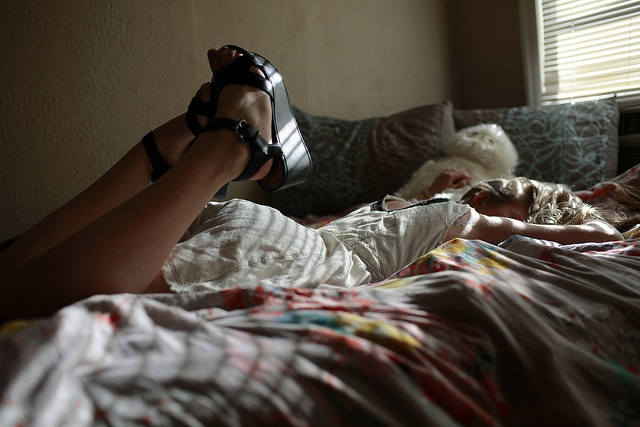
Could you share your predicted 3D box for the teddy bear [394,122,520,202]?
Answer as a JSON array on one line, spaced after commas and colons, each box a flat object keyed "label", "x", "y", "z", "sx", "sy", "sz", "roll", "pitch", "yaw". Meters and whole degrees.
[{"label": "teddy bear", "x": 0.571, "y": -0.193, "z": 2.059, "sx": 0.500, "sy": 0.211, "sz": 0.290, "roll": -28, "pitch": 21, "yaw": 8}]

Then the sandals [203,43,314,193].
[{"label": "sandals", "x": -0.156, "y": -0.279, "z": 1.235, "sx": 0.192, "sy": 0.117, "sz": 0.373, "roll": 24, "pitch": 52, "yaw": -36}]

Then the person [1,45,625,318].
[{"label": "person", "x": -0.194, "y": -0.216, "z": 2.020, "sx": 1.993, "sy": 0.830, "sz": 1.198, "roll": 0, "pitch": 2, "yaw": -9}]
